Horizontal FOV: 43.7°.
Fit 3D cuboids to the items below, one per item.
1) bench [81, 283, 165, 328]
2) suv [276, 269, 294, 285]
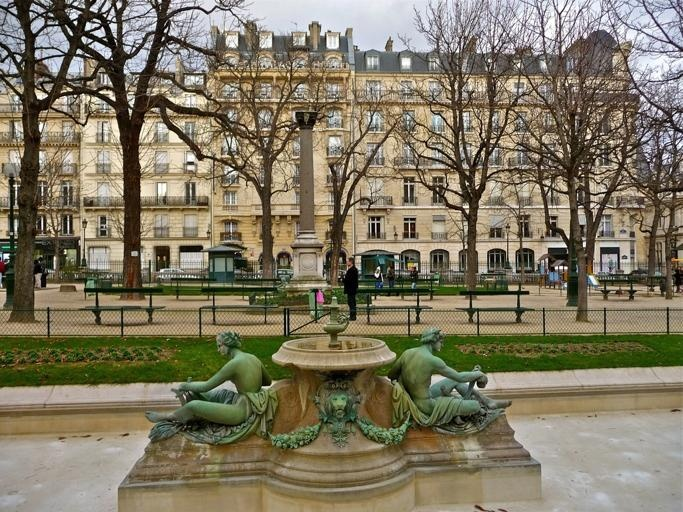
[{"bbox_3d":[-7.766,1.835,30.741,2.593,1.375,0.917,0,2,-13],"label":"bench"},{"bbox_3d":[-3.374,1.159,51.813,1.140,1.005,1.952,0,-3,-10],"label":"suv"}]
